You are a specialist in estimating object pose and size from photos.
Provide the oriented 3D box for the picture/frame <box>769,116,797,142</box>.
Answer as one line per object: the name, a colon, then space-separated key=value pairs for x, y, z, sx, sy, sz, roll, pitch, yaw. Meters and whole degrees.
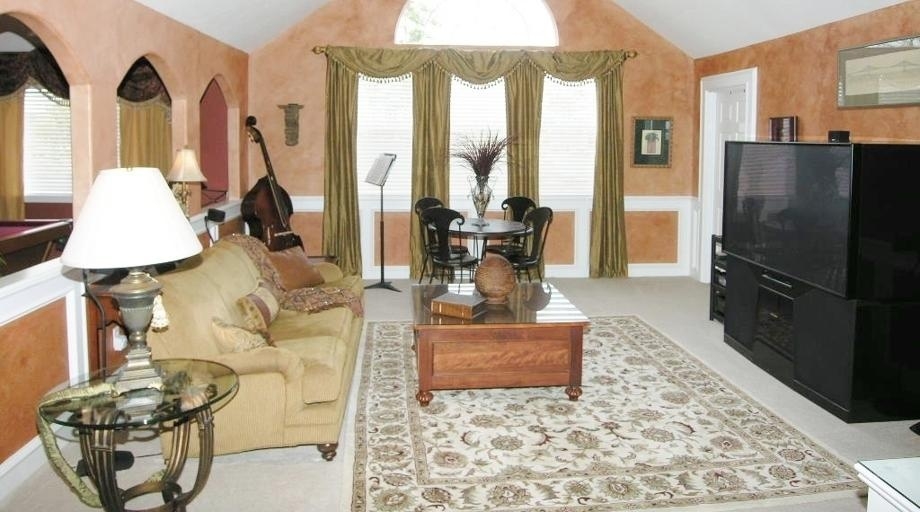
picture/frame: x=3.954 y=-1.570 z=8.026 sx=0.329 sy=0.286 sz=0.358 roll=2 pitch=10 yaw=24

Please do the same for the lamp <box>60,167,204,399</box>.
lamp: x=-2.515 y=0.198 z=4.999 sx=1.027 sy=1.539 sz=0.993 roll=-8 pitch=-4 yaw=20

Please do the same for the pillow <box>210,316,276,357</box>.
pillow: x=-1.855 y=0.684 z=5.550 sx=0.405 sy=0.122 sz=0.296 roll=5 pitch=15 yaw=-26

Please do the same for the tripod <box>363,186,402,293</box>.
tripod: x=-1.186 y=-0.277 z=9.681 sx=0.501 sy=1.508 sz=0.891 roll=-4 pitch=10 yaw=-7

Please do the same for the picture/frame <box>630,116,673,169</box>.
picture/frame: x=2.924 y=-1.793 z=10.139 sx=0.876 sy=0.966 sz=0.079 roll=0 pitch=13 yaw=-6
